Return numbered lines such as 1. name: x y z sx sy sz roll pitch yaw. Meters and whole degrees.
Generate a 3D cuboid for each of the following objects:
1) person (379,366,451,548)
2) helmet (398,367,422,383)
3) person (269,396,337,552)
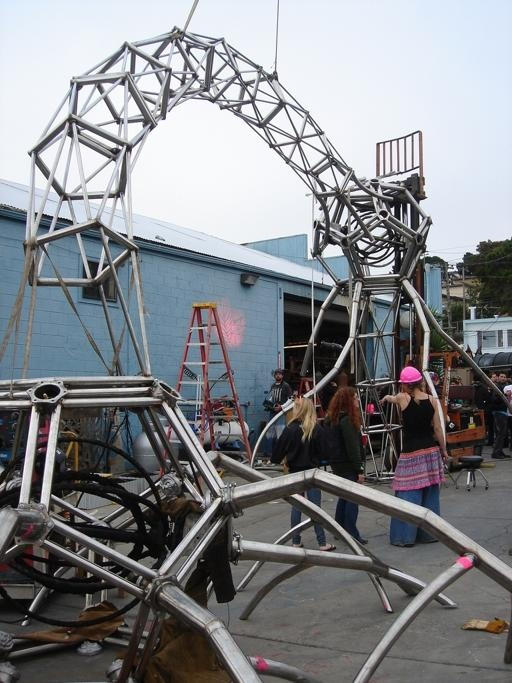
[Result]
1. person: 1.545 1.112 6.164 0.545 1.723 0.910 -1 -2 16
2. helmet: 1.506 0.327 6.262 0.164 0.101 0.200 -9 -3 0
3. person: 0.440 1.259 5.918 0.582 1.451 0.764 -1 -2 2
